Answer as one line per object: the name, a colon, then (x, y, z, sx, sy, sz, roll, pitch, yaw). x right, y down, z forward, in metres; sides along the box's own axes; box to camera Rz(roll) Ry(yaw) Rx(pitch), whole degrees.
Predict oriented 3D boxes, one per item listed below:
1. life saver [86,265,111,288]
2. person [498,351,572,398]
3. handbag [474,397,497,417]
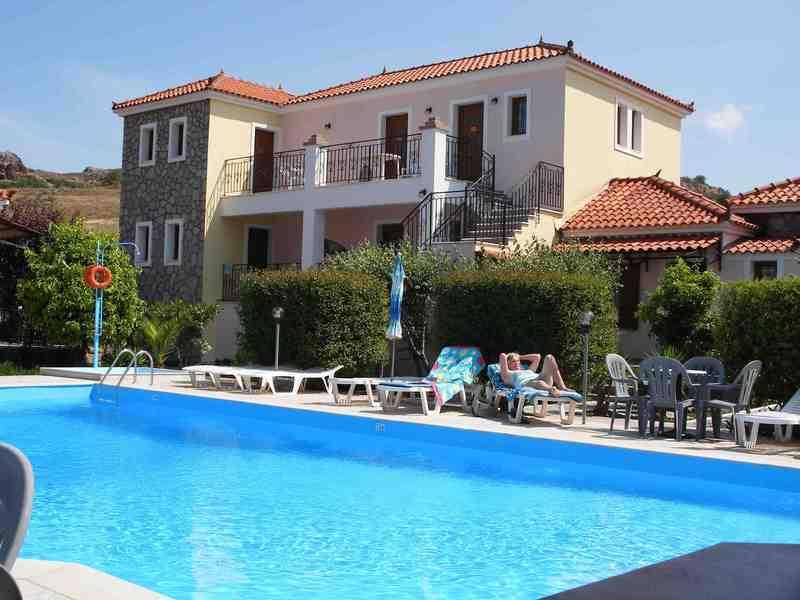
life saver: (-6.960, -0.533, 18.703, 0.515, 0.595, 0.166, 2, 1, -28)
person: (2.019, 1.160, 12.729, 0.534, 0.560, 1.154, 1, -11, -22)
handbag: (1.396, 1.764, 13.246, 0.225, 0.266, 0.327, 10, 5, -14)
